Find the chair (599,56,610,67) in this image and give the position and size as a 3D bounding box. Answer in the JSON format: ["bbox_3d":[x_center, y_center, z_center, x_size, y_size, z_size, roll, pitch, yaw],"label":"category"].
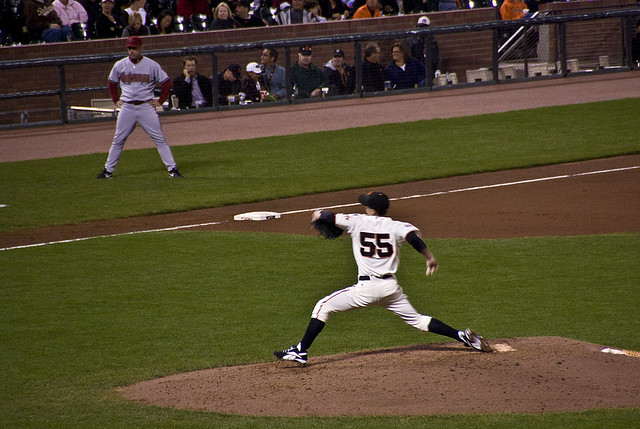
[{"bbox_3d":[7.667,-4.124,34.765,0.328,0.297,0.225,2,32,8],"label":"chair"}]

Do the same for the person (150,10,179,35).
[{"bbox_3d":[-3.933,-4.869,33.134,0.619,0.403,0.764,0,-7,-22],"label":"person"}]

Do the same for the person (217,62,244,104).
[{"bbox_3d":[-2.174,-3.219,31.807,0.721,1.022,0.943,-6,7,-3],"label":"person"}]

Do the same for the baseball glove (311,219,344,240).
[{"bbox_3d":[0.127,0.216,18.837,0.328,0.123,0.321,28,-34,-30],"label":"baseball glove"}]

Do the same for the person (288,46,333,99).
[{"bbox_3d":[-0.254,-3.452,32.420,1.181,1.567,0.957,-7,12,-30],"label":"person"}]

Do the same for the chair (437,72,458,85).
[{"bbox_3d":[3.361,-3.543,33.793,0.566,0.293,0.360,0,-5,-13],"label":"chair"}]

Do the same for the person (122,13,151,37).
[{"bbox_3d":[-4.536,-4.701,31.999,0.661,0.567,1.238,-7,7,-6],"label":"person"}]

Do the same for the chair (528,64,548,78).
[{"bbox_3d":[5.793,-3.760,34.377,0.533,0.343,0.274,4,23,13],"label":"chair"}]

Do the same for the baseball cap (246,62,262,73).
[{"bbox_3d":[-1.580,-3.568,31.415,0.348,0.244,0.488,-6,7,-3],"label":"baseball cap"}]

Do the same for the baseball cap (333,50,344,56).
[{"bbox_3d":[0.476,-4.002,31.944,0.206,0.088,0.283,1,2,7],"label":"baseball cap"}]

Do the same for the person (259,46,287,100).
[{"bbox_3d":[-1.242,-3.475,32.126,0.945,1.282,0.754,-1,7,15],"label":"person"}]

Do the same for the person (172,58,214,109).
[{"bbox_3d":[-3.041,-3.102,31.502,1.010,1.398,0.863,-9,6,-28],"label":"person"}]

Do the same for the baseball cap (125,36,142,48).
[{"bbox_3d":[-3.596,-3.399,25.498,0.221,0.153,0.306,3,7,9],"label":"baseball cap"}]

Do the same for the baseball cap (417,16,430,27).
[{"bbox_3d":[2.787,-5.137,34.381,0.238,0.174,0.354,4,-2,9],"label":"baseball cap"}]

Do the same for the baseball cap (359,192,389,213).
[{"bbox_3d":[0.811,-0.229,18.890,0.385,0.200,0.271,21,25,19],"label":"baseball cap"}]
